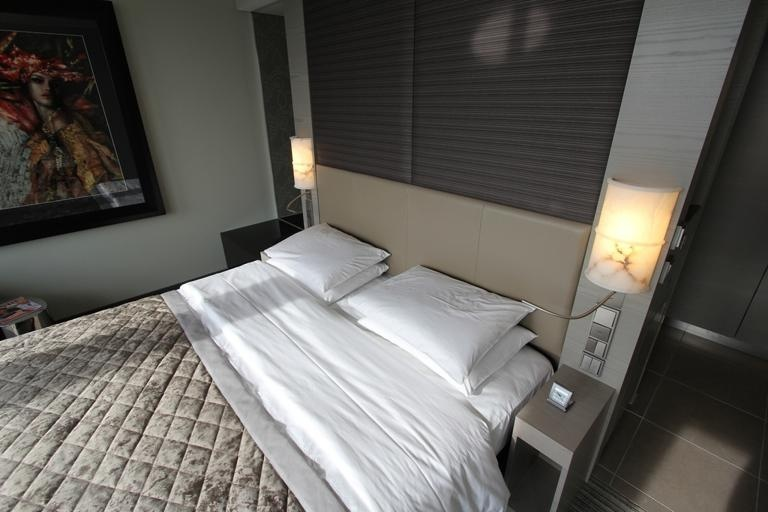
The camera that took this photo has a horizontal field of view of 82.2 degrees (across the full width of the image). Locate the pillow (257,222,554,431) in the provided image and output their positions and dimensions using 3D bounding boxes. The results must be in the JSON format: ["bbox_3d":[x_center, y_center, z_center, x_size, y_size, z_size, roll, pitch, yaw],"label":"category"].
[{"bbox_3d":[0.176,0.457,2.722,1.296,0.277,0.425,23,41,36],"label":"pillow"}]

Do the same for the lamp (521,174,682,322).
[{"bbox_3d":[1.263,-0.101,2.265,0.315,0.532,0.221,15,27,23],"label":"lamp"}]

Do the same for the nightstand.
[{"bbox_3d":[-1.199,-0.199,4.357,0.603,0.388,0.610,-16,31,-26],"label":"nightstand"}]

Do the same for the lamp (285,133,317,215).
[{"bbox_3d":[-0.717,-0.825,3.899,0.154,0.442,0.223,-18,32,-38],"label":"lamp"}]
